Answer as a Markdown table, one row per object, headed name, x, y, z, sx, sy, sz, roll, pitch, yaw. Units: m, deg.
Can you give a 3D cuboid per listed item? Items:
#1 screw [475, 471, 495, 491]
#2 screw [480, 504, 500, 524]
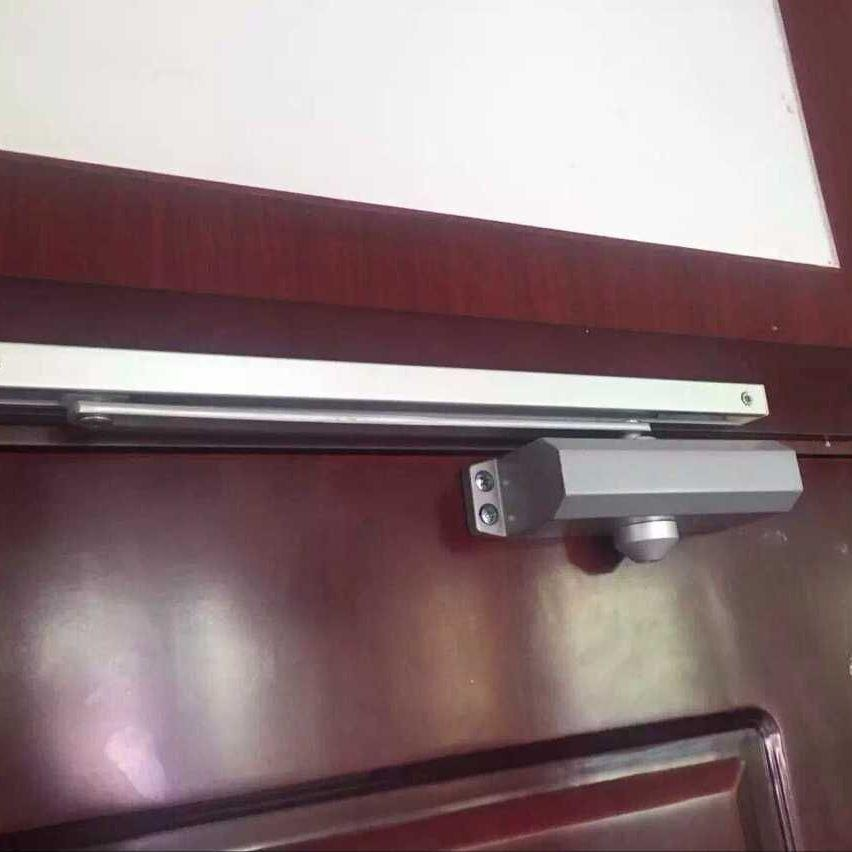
| name | x | y | z | sx | sy | sz | roll | pitch | yaw |
| --- | --- | --- | --- | --- | --- | --- | --- | --- | --- |
| screw | 0.057 | 0.055 | 0.783 | 0.016 | 0.022 | 0.004 | 2 | 0 | -26 |
| screw | 0.060 | 0.086 | 0.774 | 0.015 | 0.020 | 0.003 | 5 | -14 | -36 |
